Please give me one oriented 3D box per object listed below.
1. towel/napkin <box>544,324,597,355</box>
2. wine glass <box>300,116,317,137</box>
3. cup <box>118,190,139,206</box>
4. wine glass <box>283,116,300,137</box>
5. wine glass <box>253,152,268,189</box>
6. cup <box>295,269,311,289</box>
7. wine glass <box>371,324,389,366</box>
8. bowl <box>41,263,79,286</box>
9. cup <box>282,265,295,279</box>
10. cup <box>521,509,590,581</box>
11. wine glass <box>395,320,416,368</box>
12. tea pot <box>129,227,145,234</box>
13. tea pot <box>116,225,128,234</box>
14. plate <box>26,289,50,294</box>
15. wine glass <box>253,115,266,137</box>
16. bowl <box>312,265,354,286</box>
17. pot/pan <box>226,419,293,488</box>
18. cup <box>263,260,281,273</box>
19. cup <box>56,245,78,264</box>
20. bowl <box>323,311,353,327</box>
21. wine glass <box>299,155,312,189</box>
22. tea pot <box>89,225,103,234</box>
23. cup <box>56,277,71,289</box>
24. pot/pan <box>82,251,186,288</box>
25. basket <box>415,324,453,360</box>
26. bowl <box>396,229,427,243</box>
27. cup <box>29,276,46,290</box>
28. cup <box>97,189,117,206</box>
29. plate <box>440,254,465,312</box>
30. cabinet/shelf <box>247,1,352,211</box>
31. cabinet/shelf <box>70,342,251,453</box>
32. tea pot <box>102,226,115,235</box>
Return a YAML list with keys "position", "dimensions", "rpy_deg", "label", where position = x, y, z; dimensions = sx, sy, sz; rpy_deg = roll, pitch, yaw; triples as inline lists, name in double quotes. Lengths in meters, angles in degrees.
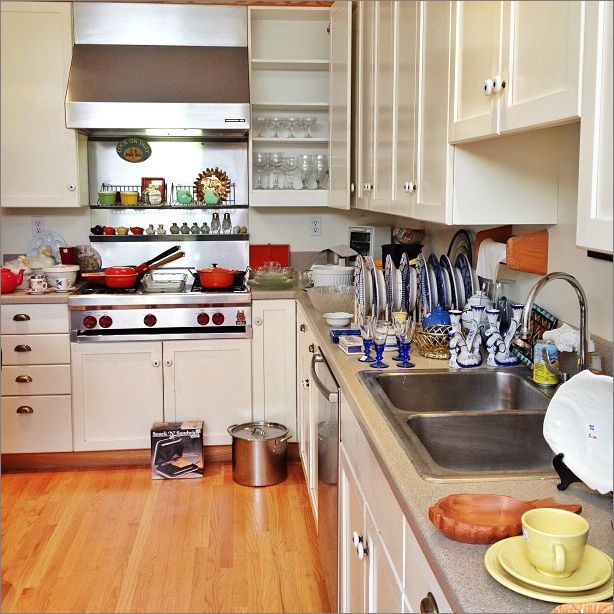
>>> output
- position: [0.680, 0.083, 1.546]
  dimensions: [0.075, 0.037, 0.079]
  rpy_deg: [-3, 16, -6]
  label: "towel/napkin"
- position: [-0.004, -1.134, 3.655]
  dimensions: [0.127, 0.159, 0.129]
  rpy_deg: [-2, 22, -3]
  label: "wine glass"
- position: [-1.108, -0.677, 3.631]
  dimensions: [0.095, 0.067, 0.100]
  rpy_deg: [0, 18, 0]
  label: "cup"
- position: [-0.094, -1.098, 3.621]
  dimensions: [0.110, 0.125, 0.203]
  rpy_deg: [-3, 7, 0]
  label: "wine glass"
- position: [-0.281, -0.825, 3.558]
  dimensions: [0.098, 0.206, 0.151]
  rpy_deg: [-4, 7, -6]
  label: "wine glass"
- position: [-0.040, -0.160, 3.553]
  dimensions: [0.075, 0.124, 0.135]
  rpy_deg: [0, 7, -8]
  label: "cup"
- position: [0.232, 0.114, 1.897]
  dimensions: [0.059, 0.143, 0.225]
  rpy_deg: [-2, 7, 6]
  label: "wine glass"
- position: [-1.420, -0.185, 3.342]
  dimensions: [0.139, 0.085, 0.146]
  rpy_deg: [-1, 9, 0]
  label: "bowl"
- position: [-0.113, -0.193, 3.554]
  dimensions: [0.081, 0.097, 0.085]
  rpy_deg: [2, 15, 0]
  label: "cup"
- position: [0.306, 0.283, 0.711]
  dimensions: [0.056, 0.054, 0.084]
  rpy_deg: [0, 5, 14]
  label: "cup"
- position: [0.314, 0.115, 1.873]
  dimensions: [0.055, 0.152, 0.183]
  rpy_deg: [-2, 7, 9]
  label: "wine glass"
- position: [-1.079, -0.475, 3.709]
  dimensions: [0.088, 0.054, 0.078]
  rpy_deg: [-5, 7, -16]
  label: "tea pot"
- position: [-1.150, -0.477, 3.663]
  dimensions: [0.052, 0.038, 0.053]
  rpy_deg: [-2, 6, 0]
  label: "tea pot"
- position: [-1.471, -0.078, 3.196]
  dimensions: [0.123, 0.032, 0.117]
  rpy_deg: [-7, 8, -27]
  label: "plate"
- position: [-0.292, -1.100, 3.560]
  dimensions: [0.100, 0.122, 0.101]
  rpy_deg: [-18, 30, -38]
  label: "wine glass"
- position: [0.136, -0.154, 3.034]
  dimensions: [0.216, 0.101, 0.562]
  rpy_deg: [-3, 7, 3]
  label: "bowl"
- position: [-0.252, 0.812, 3.189]
  dimensions: [0.358, 0.270, 0.270]
  rpy_deg: [2, 9, 12]
  label: "pot/pan"
- position: [-0.217, -0.242, 3.572]
  dimensions: [0.062, 0.073, 0.103]
  rpy_deg: [0, -1, 1]
  label: "cup"
- position: [-1.481, -0.317, 3.611]
  dimensions: [0.109, 0.126, 0.110]
  rpy_deg: [2, 7, 0]
  label: "cup"
- position: [0.134, 0.058, 2.446]
  dimensions: [0.112, 0.056, 0.123]
  rpy_deg: [-1, 7, 16]
  label: "bowl"
- position: [-0.008, -0.825, 3.594]
  dimensions: [0.078, 0.195, 0.137]
  rpy_deg: [-3, 7, 1]
  label: "wine glass"
- position: [-1.325, -0.482, 3.667]
  dimensions: [0.060, 0.045, 0.056]
  rpy_deg: [-3, 9, 0]
  label: "tea pot"
- position: [-1.360, -0.129, 3.259]
  dimensions: [0.067, 0.057, 0.055]
  rpy_deg: [1, 3, -19]
  label: "cup"
- position: [-0.977, -0.179, 3.456]
  dimensions: [0.619, 0.213, 0.271]
  rpy_deg: [-9, 12, -26]
  label: "pot/pan"
- position: [0.431, 0.123, 2.001]
  dimensions: [0.103, 0.082, 0.106]
  rpy_deg: [-1, 3, -27]
  label: "basket"
- position: [0.544, -0.376, 3.119]
  dimensions: [0.114, 0.089, 0.171]
  rpy_deg: [-7, 8, -27]
  label: "bowl"
- position: [-1.476, -0.133, 3.221]
  dimensions: [0.083, 0.081, 0.058]
  rpy_deg: [2, 2, 2]
  label: "cup"
- position: [-1.243, -0.666, 3.636]
  dimensions: [0.105, 0.081, 0.106]
  rpy_deg: [0, 7, 0]
  label: "cup"
- position: [0.570, -0.094, 2.293]
  dimensions: [0.090, 0.205, 0.171]
  rpy_deg: [-1, 7, 13]
  label: "plate"
- position: [-0.060, -1.152, 3.374]
  dimensions: [0.611, 1.226, 0.791]
  rpy_deg: [-4, 7, -5]
  label: "cabinet/shelf"
- position: [-0.863, 0.478, 3.268]
  dimensions: [1.012, 0.688, 0.581]
  rpy_deg: [0, -2, -4]
  label: "cabinet/shelf"
- position: [-1.242, -0.475, 3.663]
  dimensions: [0.051, 0.040, 0.053]
  rpy_deg: [-1, 6, 0]
  label: "tea pot"
